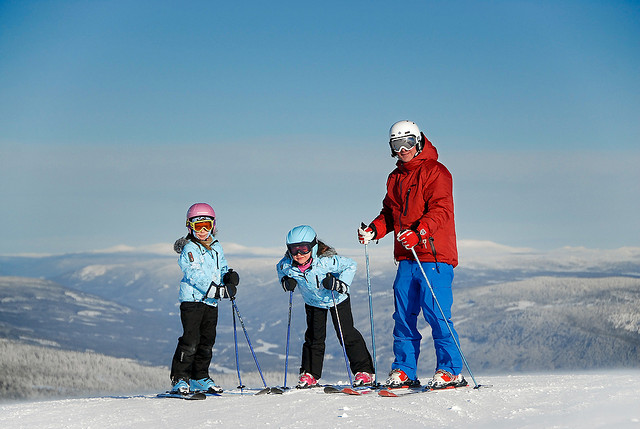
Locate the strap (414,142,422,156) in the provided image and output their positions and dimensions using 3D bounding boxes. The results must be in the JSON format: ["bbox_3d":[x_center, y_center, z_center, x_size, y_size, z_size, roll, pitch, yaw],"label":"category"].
[{"bbox_3d":[2.069,-1.387,21.848,0.163,0.214,0.194,-1,-27,19],"label":"strap"}]

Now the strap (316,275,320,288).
[{"bbox_3d":[-0.063,1.455,22.430,0.049,0.354,0.038,-1,-45,-9],"label":"strap"}]

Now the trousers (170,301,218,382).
[{"bbox_3d":[-2.711,2.753,22.488,0.951,1.670,0.679,3,-14,-17],"label":"trousers"}]

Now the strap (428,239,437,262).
[{"bbox_3d":[2.313,0.746,21.530,0.063,0.472,0.082,-13,-3,0],"label":"strap"}]

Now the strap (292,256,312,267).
[{"bbox_3d":[-0.417,1.009,22.403,0.422,0.179,0.136,-6,-14,17],"label":"strap"}]

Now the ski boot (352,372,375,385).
[{"bbox_3d":[0.929,3.525,22.536,0.486,0.216,0.177,8,-16,-29],"label":"ski boot"}]

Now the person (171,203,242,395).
[{"bbox_3d":[-2.570,1.840,22.586,1.247,4.058,0.899,1,-14,-9],"label":"person"}]

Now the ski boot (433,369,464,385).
[{"bbox_3d":[2.616,3.355,21.510,0.682,0.307,0.247,8,-6,-8],"label":"ski boot"}]

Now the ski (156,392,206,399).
[{"bbox_3d":[-2.913,3.860,22.097,1.048,0.149,0.235,-7,-15,21],"label":"ski"}]
